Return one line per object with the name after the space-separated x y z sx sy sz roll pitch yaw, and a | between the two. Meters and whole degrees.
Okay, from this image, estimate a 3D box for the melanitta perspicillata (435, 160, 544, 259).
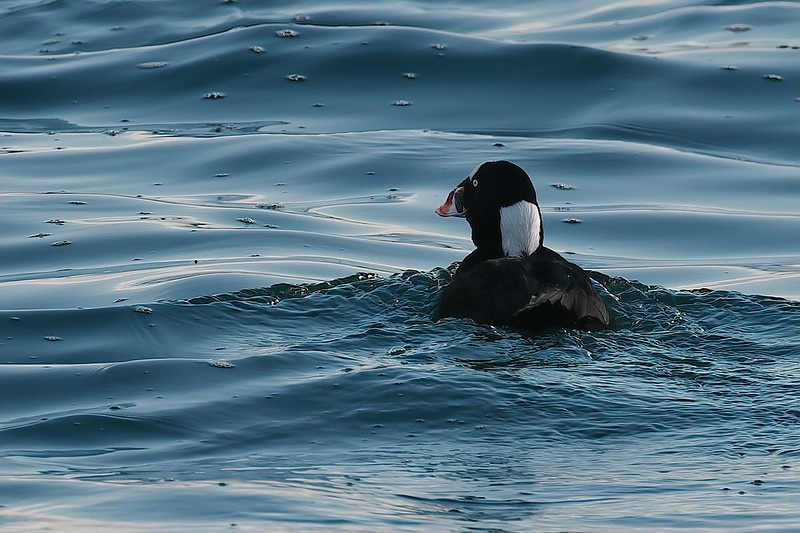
0.936 -0.529 8.595 0.544 0.890 0.967 -4 10 -24 | melanitta perspicillata
